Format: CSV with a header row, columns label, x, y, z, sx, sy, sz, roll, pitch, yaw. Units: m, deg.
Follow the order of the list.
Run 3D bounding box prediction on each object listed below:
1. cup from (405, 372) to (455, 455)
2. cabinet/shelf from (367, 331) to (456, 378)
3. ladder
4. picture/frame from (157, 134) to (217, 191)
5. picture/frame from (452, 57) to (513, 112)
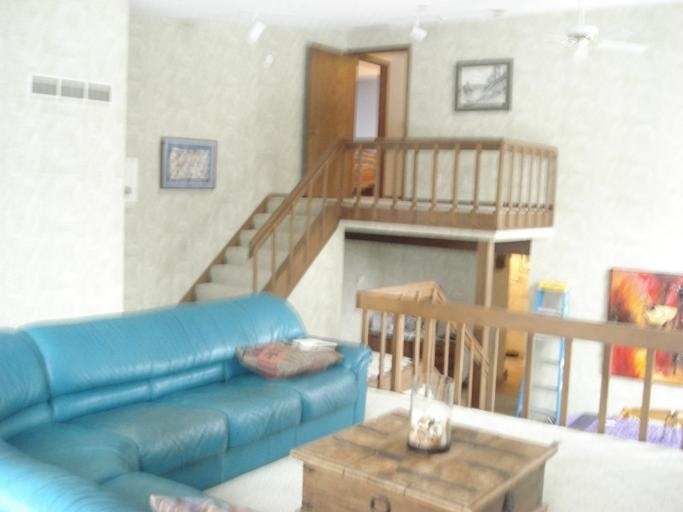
label,x,y,z,sx,sy,sz,roll,pitch,yaw
cup,0.435,0.750,2.659,0.216,0.354,0.234,4,-2,0
cabinet/shelf,1.132,1.513,8.790,1.316,0.587,0.793,5,2,17
ladder,2.681,1.654,7.385,0.647,2.918,0.570,1,-12,13
picture/frame,-1.934,-1.170,6.679,0.055,0.557,0.728,8,9,41
picture/frame,2.096,-2.534,7.954,0.792,0.718,0.065,6,10,32
